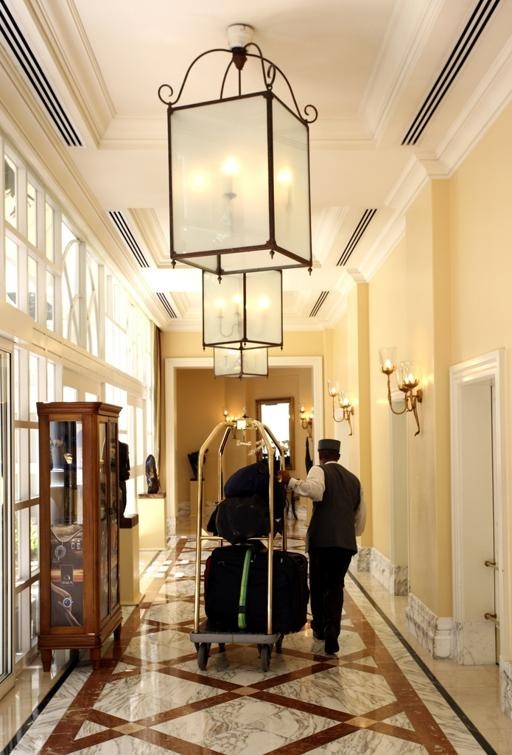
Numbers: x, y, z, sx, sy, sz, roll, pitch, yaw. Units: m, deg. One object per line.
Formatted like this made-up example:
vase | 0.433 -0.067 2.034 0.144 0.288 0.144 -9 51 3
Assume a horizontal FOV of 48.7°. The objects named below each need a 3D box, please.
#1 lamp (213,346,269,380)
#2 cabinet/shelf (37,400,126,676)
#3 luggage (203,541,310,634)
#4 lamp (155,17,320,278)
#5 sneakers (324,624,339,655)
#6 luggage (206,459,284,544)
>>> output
lamp | -0.144 -0.184 7.299 0.651 0.410 0.595 6 -11 -41
cabinet/shelf | -1.247 1.069 3.994 0.531 1.783 0.699 1 -7 -12
luggage | 0.009 1.406 3.822 0.653 0.556 0.528 -3 -11 25
lamp | -0.076 -0.923 2.338 0.535 1.041 0.488 -2 -3 7
sneakers | 0.532 1.834 3.967 0.094 0.200 0.137 -1 -8 7
luggage | -0.073 0.882 3.786 0.428 0.569 0.316 -5 -36 17
